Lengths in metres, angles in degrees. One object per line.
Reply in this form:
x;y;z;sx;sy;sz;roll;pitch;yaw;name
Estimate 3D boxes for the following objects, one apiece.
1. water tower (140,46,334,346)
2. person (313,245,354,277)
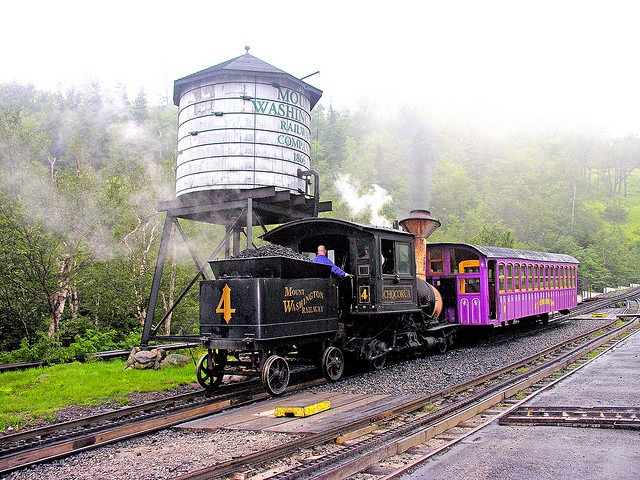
-2.641;-0.952;18.640;6.092;11.125;6.503;2;0;-6;water tower
0.334;0.503;12.845;0.260;0.918;0.630;-35;29;-30;person
